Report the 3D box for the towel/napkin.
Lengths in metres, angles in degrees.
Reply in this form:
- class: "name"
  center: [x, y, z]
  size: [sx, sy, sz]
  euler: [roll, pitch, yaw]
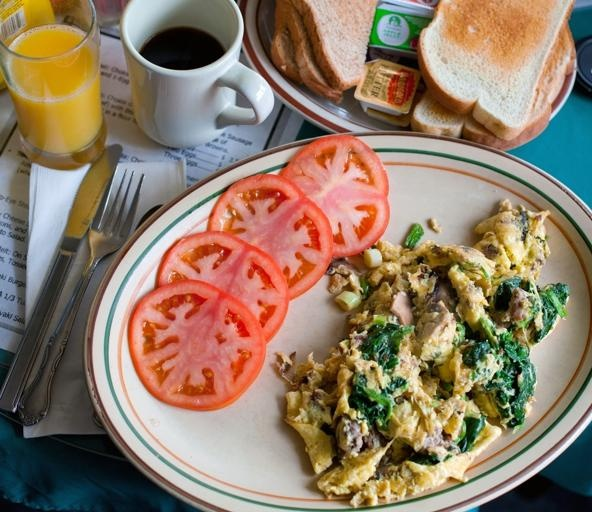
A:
- class: "towel/napkin"
  center: [-0.567, 0.094, 1.555]
  size: [0.029, 0.382, 0.996]
  euler: [-35, 42, 29]
